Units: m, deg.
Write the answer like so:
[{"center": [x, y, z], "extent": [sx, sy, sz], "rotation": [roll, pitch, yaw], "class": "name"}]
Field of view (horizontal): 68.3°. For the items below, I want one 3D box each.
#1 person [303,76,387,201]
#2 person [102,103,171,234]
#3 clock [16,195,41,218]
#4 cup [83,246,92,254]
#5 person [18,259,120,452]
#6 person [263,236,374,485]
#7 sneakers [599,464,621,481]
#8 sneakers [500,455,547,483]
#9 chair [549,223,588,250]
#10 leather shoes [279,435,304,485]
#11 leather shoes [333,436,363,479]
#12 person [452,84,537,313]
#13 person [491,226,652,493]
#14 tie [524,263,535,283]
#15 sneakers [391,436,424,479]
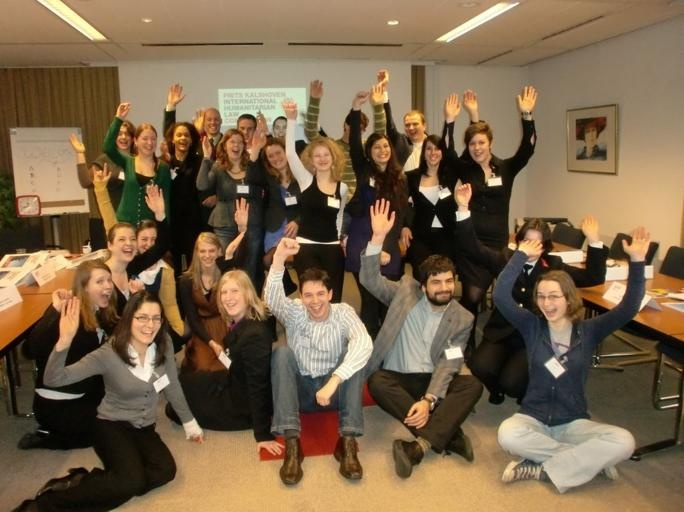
[{"center": [0.096, -0.998, 5.144], "extent": [0.850, 1.632, 0.439], "rotation": [-2, -16, -7], "class": "person"}, {"center": [-2.033, -0.910, 4.988], "extent": [0.594, 1.152, 0.332], "rotation": [-6, 14, -26], "class": "person"}, {"center": [-4.693, -0.748, 7.492], "extent": [0.306, 0.311, 0.386], "rotation": [-8, 15, -32], "class": "clock"}, {"center": [-2.855, -0.075, 5.620], "extent": [0.069, 0.114, 0.062], "rotation": [11, 17, 23], "class": "cup"}, {"center": [-1.880, 0.771, 3.765], "extent": [0.892, 1.390, 0.841], "rotation": [4, 6, -33], "class": "person"}, {"center": [-0.139, 0.666, 3.515], "extent": [0.775, 1.535, 0.789], "rotation": [-2, 13, -10], "class": "person"}, {"center": [1.784, 1.423, 3.329], "extent": [0.108, 0.095, 0.045], "rotation": [6, 14, 25], "class": "sneakers"}, {"center": [1.207, 1.403, 3.360], "extent": [0.338, 0.122, 0.136], "rotation": [-2, 6, -10], "class": "sneakers"}, {"center": [2.709, -0.235, 5.989], "extent": [0.360, 0.453, 0.308], "rotation": [-4, 10, -19], "class": "chair"}, {"center": [-0.332, 1.372, 3.341], "extent": [0.139, 0.225, 0.309], "rotation": [0, -2, 3], "class": "leather shoes"}, {"center": [0.037, 1.362, 3.388], "extent": [0.117, 0.166, 0.330], "rotation": [1, -5, -8], "class": "leather shoes"}, {"center": [1.303, -0.333, 4.829], "extent": [0.878, 2.500, 0.607], "rotation": [-3, 15, -6], "class": "person"}, {"center": [1.503, 0.664, 3.431], "extent": [0.958, 1.565, 0.896], "rotation": [5, 13, 21], "class": "person"}, {"center": [1.552, 0.133, 4.146], "extent": [0.094, 0.138, 0.041], "rotation": [-8, -12, 38], "class": "tie"}, {"center": [0.438, 1.320, 3.391], "extent": [0.233, 0.125, 0.333], "rotation": [-4, 26, -11], "class": "sneakers"}]
